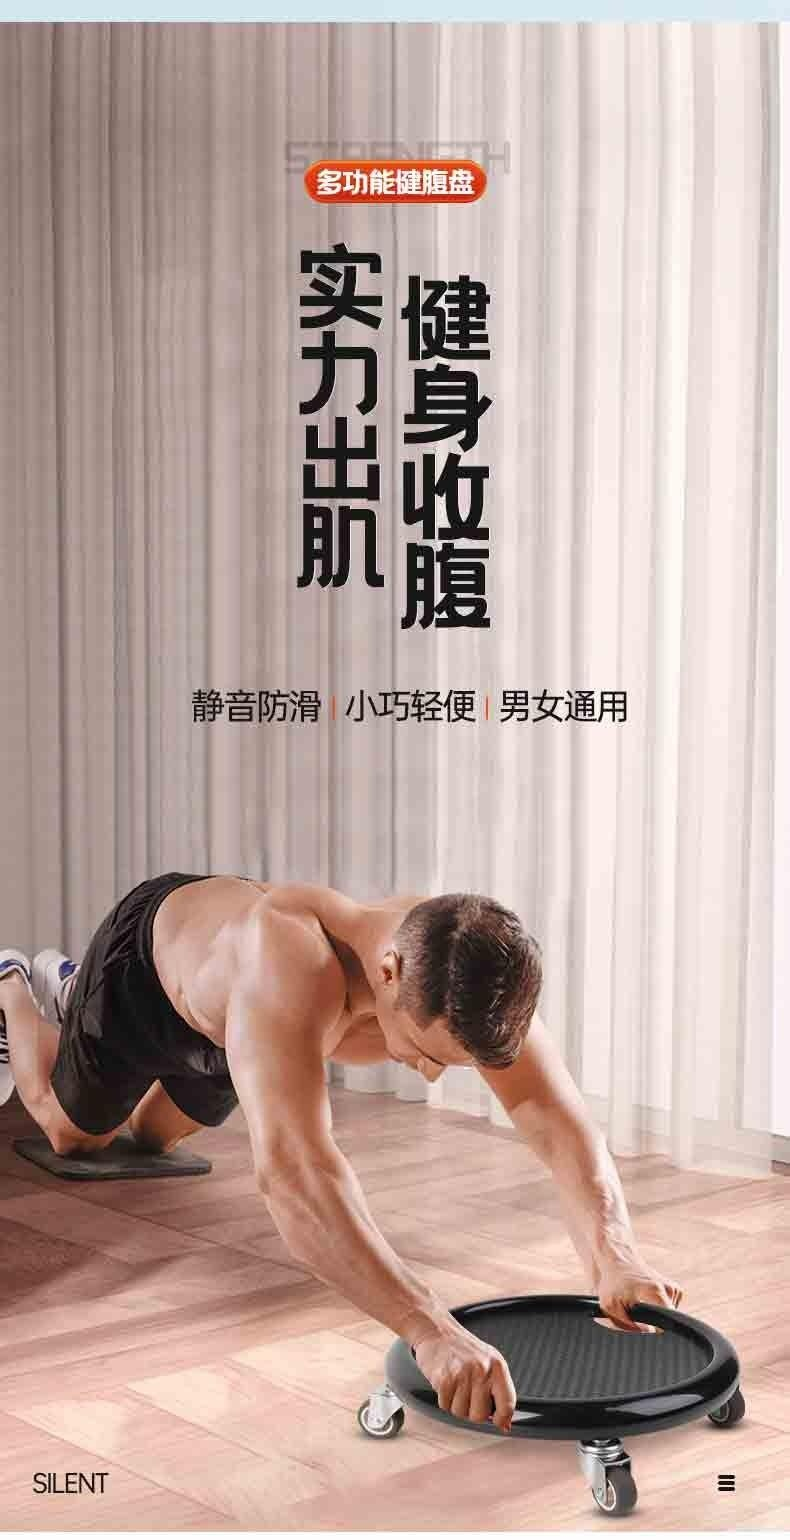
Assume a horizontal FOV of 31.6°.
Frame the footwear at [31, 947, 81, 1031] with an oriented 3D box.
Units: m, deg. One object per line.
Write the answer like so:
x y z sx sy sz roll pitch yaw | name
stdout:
-0.409 0.254 1.667 0.048 0.120 0.041 17 31 27 | footwear

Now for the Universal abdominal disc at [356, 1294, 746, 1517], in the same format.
0.166 0.676 1.485 0.408 0.179 0.200 2 3 12 | Universal abdominal disc
